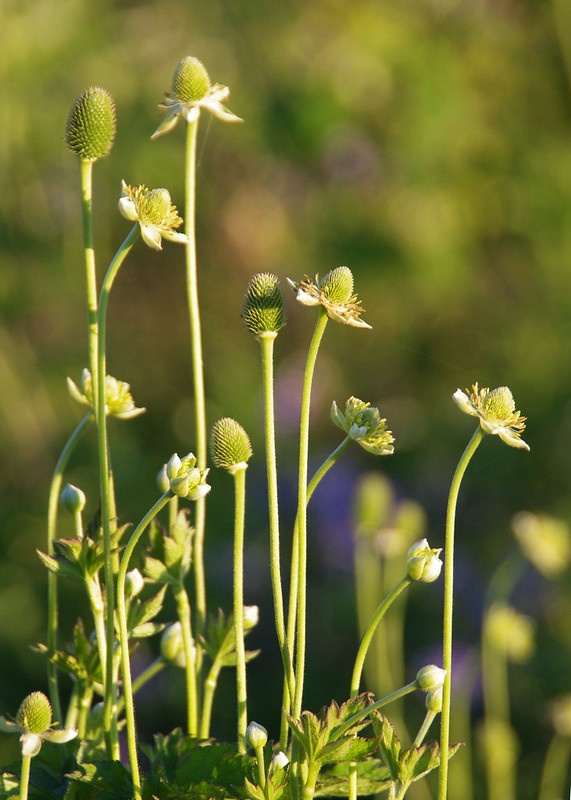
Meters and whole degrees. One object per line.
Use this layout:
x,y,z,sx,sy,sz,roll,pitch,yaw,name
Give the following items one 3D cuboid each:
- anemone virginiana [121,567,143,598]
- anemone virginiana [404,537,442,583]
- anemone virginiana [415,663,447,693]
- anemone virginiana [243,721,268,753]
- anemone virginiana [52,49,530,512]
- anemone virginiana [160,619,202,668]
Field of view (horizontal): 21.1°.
-0.157,0.193,1.602,0.016,0.029,0.020,25,-12,-33,anemone virginiana
0.137,0.163,1.509,0.029,0.041,0.045,12,-26,3,anemone virginiana
0.140,0.267,1.464,0.025,0.025,0.023,-3,6,2,anemone virginiana
-0.027,0.331,1.486,0.020,0.030,0.020,-18,22,-28,anemone virginiana
-0.109,-0.118,1.657,0.293,0.495,0.424,0,-7,-23,anemone virginiana
-0.113,0.261,1.660,0.028,0.052,0.036,-13,19,-20,anemone virginiana
